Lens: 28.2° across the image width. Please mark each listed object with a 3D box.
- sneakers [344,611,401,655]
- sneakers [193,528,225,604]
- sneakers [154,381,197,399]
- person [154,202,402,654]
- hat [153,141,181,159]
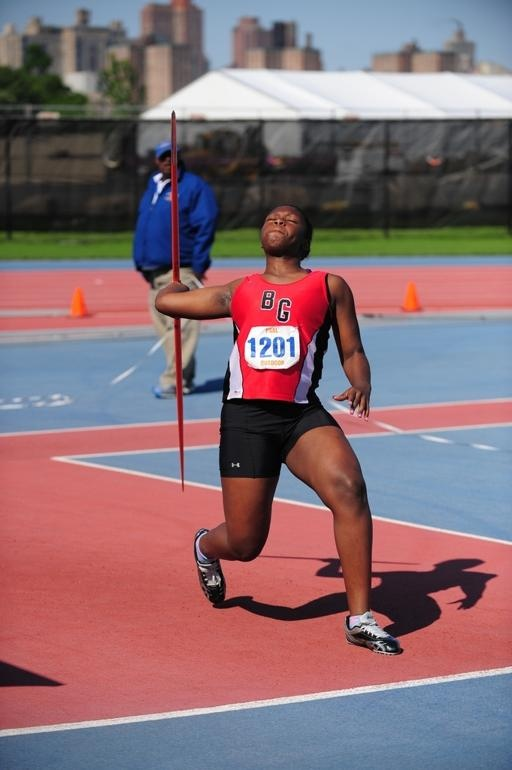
[{"bbox_3d":[0.403,0.829,3.521,0.092,0.114,0.270,-14,17,-39],"label":"sneakers"},{"bbox_3d":[-0.173,0.702,3.979,0.107,0.299,0.132,-15,18,-15],"label":"sneakers"},{"bbox_3d":[-0.681,0.045,8.511,0.355,0.149,0.116,0,0,-6],"label":"sneakers"},{"bbox_3d":[0.102,0.151,3.628,0.890,1.534,0.434,3,11,16],"label":"person"},{"bbox_3d":[-0.748,-1.850,8.158,0.104,0.142,0.201,-2,10,-12],"label":"hat"}]
